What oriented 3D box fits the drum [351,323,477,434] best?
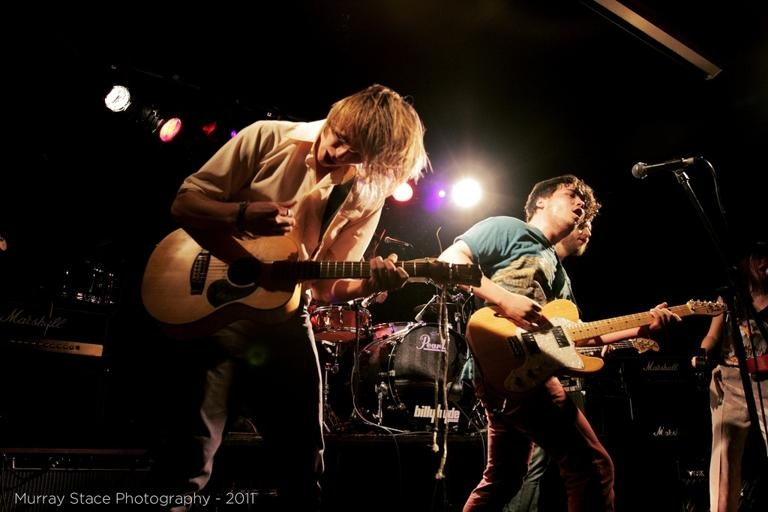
[{"bbox_3d":[0.307,1.467,7.591,1.564,1.522,1.179,4,-6,-29],"label":"drum"}]

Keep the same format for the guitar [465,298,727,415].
[{"bbox_3d":[2.024,0.737,6.175,2.634,0.911,0.321,-9,-25,-22],"label":"guitar"}]

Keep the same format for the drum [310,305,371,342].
[{"bbox_3d":[-0.583,0.862,7.954,0.587,0.207,0.597,-1,-18,0],"label":"drum"}]

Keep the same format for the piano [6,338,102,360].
[{"bbox_3d":[-3.277,0.895,6.293,0.880,0.192,0.097,20,-25,-27],"label":"piano"}]

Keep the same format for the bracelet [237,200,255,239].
[{"bbox_3d":[-1.124,-0.315,5.048,0.101,0.229,0.131,9,-22,0],"label":"bracelet"}]
